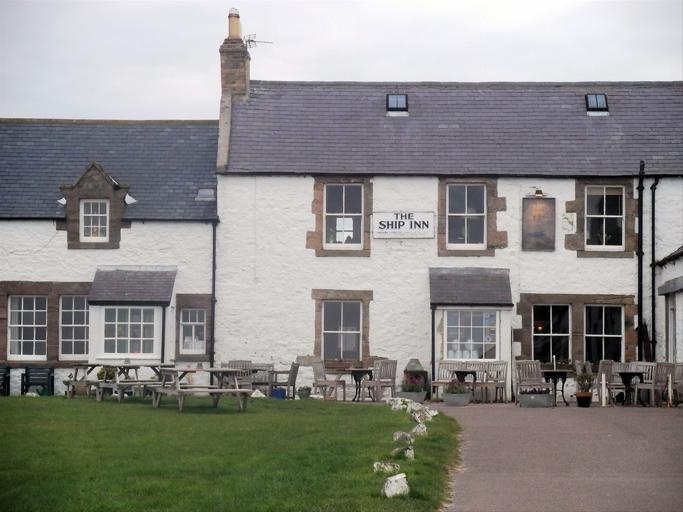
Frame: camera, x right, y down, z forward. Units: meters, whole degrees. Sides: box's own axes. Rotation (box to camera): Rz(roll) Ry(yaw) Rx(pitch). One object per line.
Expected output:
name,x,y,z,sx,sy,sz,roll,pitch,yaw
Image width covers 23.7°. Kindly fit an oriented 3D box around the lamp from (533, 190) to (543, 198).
lamp,5.695,-1.864,47.522,0.194,0.198,0.200,3,13,11
